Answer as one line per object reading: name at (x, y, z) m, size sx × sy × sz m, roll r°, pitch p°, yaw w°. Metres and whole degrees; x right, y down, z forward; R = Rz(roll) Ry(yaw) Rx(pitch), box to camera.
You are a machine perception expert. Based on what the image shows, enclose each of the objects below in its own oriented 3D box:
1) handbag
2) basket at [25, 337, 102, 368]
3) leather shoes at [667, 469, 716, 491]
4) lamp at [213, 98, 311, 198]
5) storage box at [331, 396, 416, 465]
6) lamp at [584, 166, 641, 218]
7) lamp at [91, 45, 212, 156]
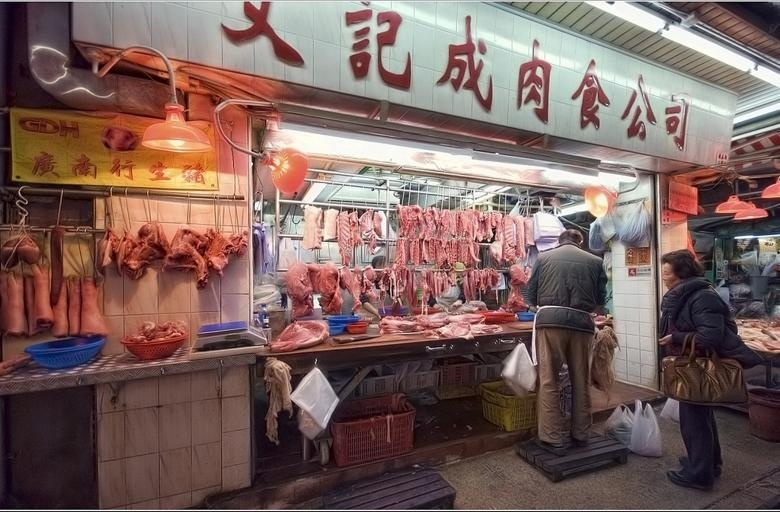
handbag at (3.733, 1.337, 6.251) m, size 1.022 × 0.960 × 0.391 m, roll 0°, pitch -5°, yaw 10°
basket at (-3.647, 1.088, 5.973) m, size 0.757 × 0.253 × 0.412 m, roll 1°, pitch -1°, yaw -27°
leather shoes at (3.613, 2.721, 6.398) m, size 0.546 × 0.216 × 0.205 m, roll 6°, pitch -1°, yaw 34°
lamp at (-1.539, -1.322, 6.382) m, size 1.018 × 1.121 × 0.634 m, roll 0°, pitch 0°, yaw -12°
storage box at (-0.217, 2.179, 6.709) m, size 1.056 × 0.475 × 0.644 m, roll -3°, pitch 6°, yaw -13°
lamp at (3.431, -0.948, 8.230) m, size 0.640 × 0.680 × 1.286 m, roll 0°, pitch -1°, yaw 30°
lamp at (-2.376, -1.637, 5.818) m, size 1.587 × 1.183 × 0.846 m, roll 2°, pitch 3°, yaw 12°
